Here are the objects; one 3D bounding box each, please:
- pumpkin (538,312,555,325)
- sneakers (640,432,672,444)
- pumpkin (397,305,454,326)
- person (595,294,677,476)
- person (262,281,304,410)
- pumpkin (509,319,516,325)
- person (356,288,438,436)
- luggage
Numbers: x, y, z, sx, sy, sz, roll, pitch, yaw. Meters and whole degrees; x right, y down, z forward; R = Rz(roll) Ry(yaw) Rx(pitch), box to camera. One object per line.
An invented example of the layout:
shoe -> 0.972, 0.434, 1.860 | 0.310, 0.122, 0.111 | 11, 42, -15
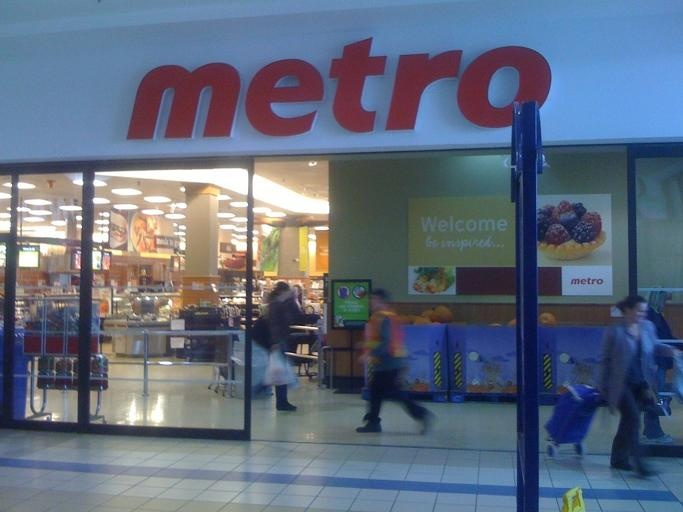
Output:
pumpkin -> 3.215, 0.980, 11.047 | 0.228, 0.174, 0.543 | 2, 4, 19
sneakers -> 3.425, 1.959, 7.774 | 0.375, 0.179, 0.133 | -1, -3, 6
pumpkin -> 1.389, 0.956, 11.145 | 0.604, 0.274, 0.474 | -4, -3, 3
person -> 3.067, 1.319, 7.384 | 0.797, 1.820, 0.428 | -1, 3, -37
person -> -0.821, 1.247, 9.894 | 0.373, 1.817, 0.903 | 0, 2, 2
pumpkin -> 2.616, 1.014, 10.875 | 0.121, 0.069, 0.126 | -2, -3, 29
person -> 0.621, 1.283, 9.132 | 0.848, 1.739, 1.254 | 0, 3, 1
luggage -> 2.573, 1.799, 7.980 | 0.520, 0.844, 0.505 | 13, 10, 20
